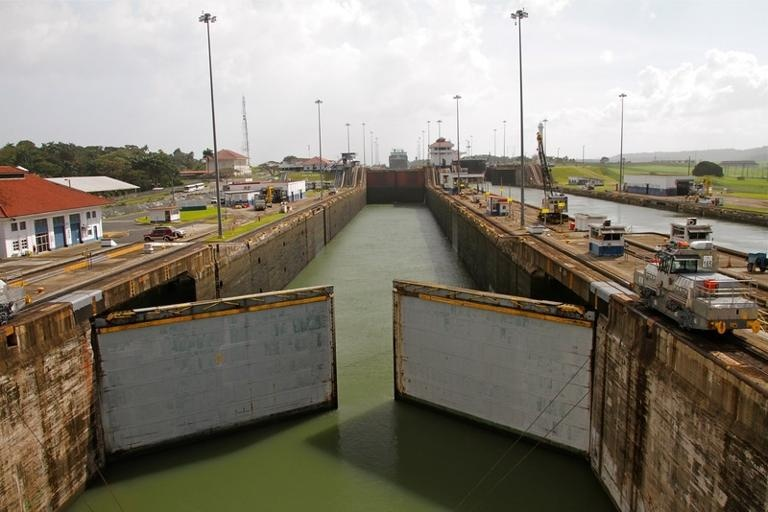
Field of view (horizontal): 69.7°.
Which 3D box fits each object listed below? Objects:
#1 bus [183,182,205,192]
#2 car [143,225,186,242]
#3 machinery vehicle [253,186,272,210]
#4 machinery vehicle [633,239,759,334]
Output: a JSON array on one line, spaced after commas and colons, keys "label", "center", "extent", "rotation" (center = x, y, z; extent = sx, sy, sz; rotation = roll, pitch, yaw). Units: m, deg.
[{"label": "bus", "center": [-42.638, -15.266, 124.858], "extent": [2.061, 1.662, 7.991], "rotation": [-1, 11, -2]}, {"label": "car", "center": [-19.069, -1.709, 47.582], "extent": [2.794, 1.249, 1.598], "rotation": [-2, 8, 3]}, {"label": "machinery vehicle", "center": [-17.105, -7.551, 75.229], "extent": [1.850, 3.151, 5.795], "rotation": [0, 6, 0]}, {"label": "machinery vehicle", "center": [12.302, 1.055, 22.357], "extent": [2.252, 2.748, 5.400], "rotation": [-3, 18, -8]}]
